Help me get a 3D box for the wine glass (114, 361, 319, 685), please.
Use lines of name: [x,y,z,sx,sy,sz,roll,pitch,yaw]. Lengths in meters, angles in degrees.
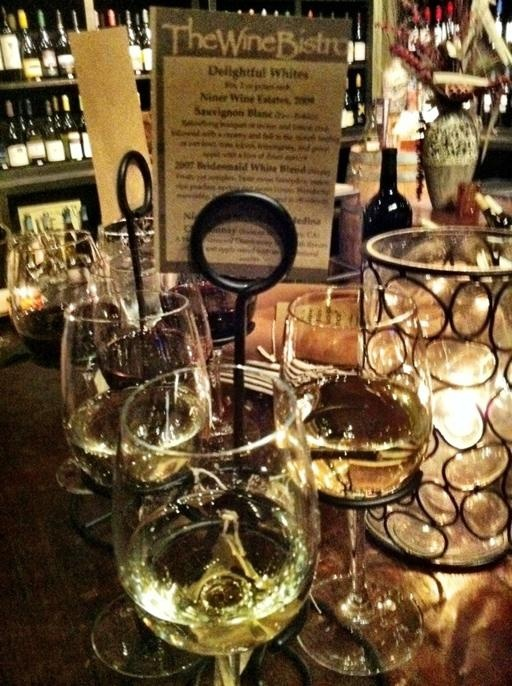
wine glass: [-0.031,0.077,0.322,0.110,0.130,0.177,-10,29,-15]
